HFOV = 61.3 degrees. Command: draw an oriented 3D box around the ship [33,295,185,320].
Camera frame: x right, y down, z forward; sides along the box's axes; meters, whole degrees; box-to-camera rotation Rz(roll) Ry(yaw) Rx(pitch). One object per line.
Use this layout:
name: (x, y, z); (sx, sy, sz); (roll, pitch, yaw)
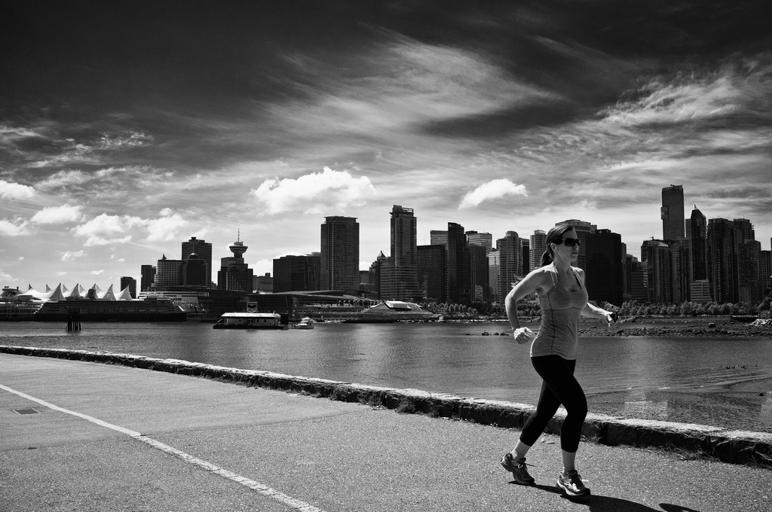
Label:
ship: (-79.346, 15.761, 189.802); (36.879, 6.995, 6.639); (2, -6, -20)

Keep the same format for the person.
person: (2.106, 1.179, 8.154); (1.178, 3.379, 1.475); (-2, -6, 17)

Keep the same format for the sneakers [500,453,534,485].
sneakers: (1.700, 2.667, 8.143); (0.208, 0.227, 0.496); (14, 15, -46)

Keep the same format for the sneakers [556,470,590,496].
sneakers: (2.220, 2.710, 7.728); (0.202, 0.195, 0.401); (5, -17, -16)

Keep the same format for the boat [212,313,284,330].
boat: (-35.188, 16.730, 166.822); (15.772, 4.118, 20.458); (1, -6, -14)
